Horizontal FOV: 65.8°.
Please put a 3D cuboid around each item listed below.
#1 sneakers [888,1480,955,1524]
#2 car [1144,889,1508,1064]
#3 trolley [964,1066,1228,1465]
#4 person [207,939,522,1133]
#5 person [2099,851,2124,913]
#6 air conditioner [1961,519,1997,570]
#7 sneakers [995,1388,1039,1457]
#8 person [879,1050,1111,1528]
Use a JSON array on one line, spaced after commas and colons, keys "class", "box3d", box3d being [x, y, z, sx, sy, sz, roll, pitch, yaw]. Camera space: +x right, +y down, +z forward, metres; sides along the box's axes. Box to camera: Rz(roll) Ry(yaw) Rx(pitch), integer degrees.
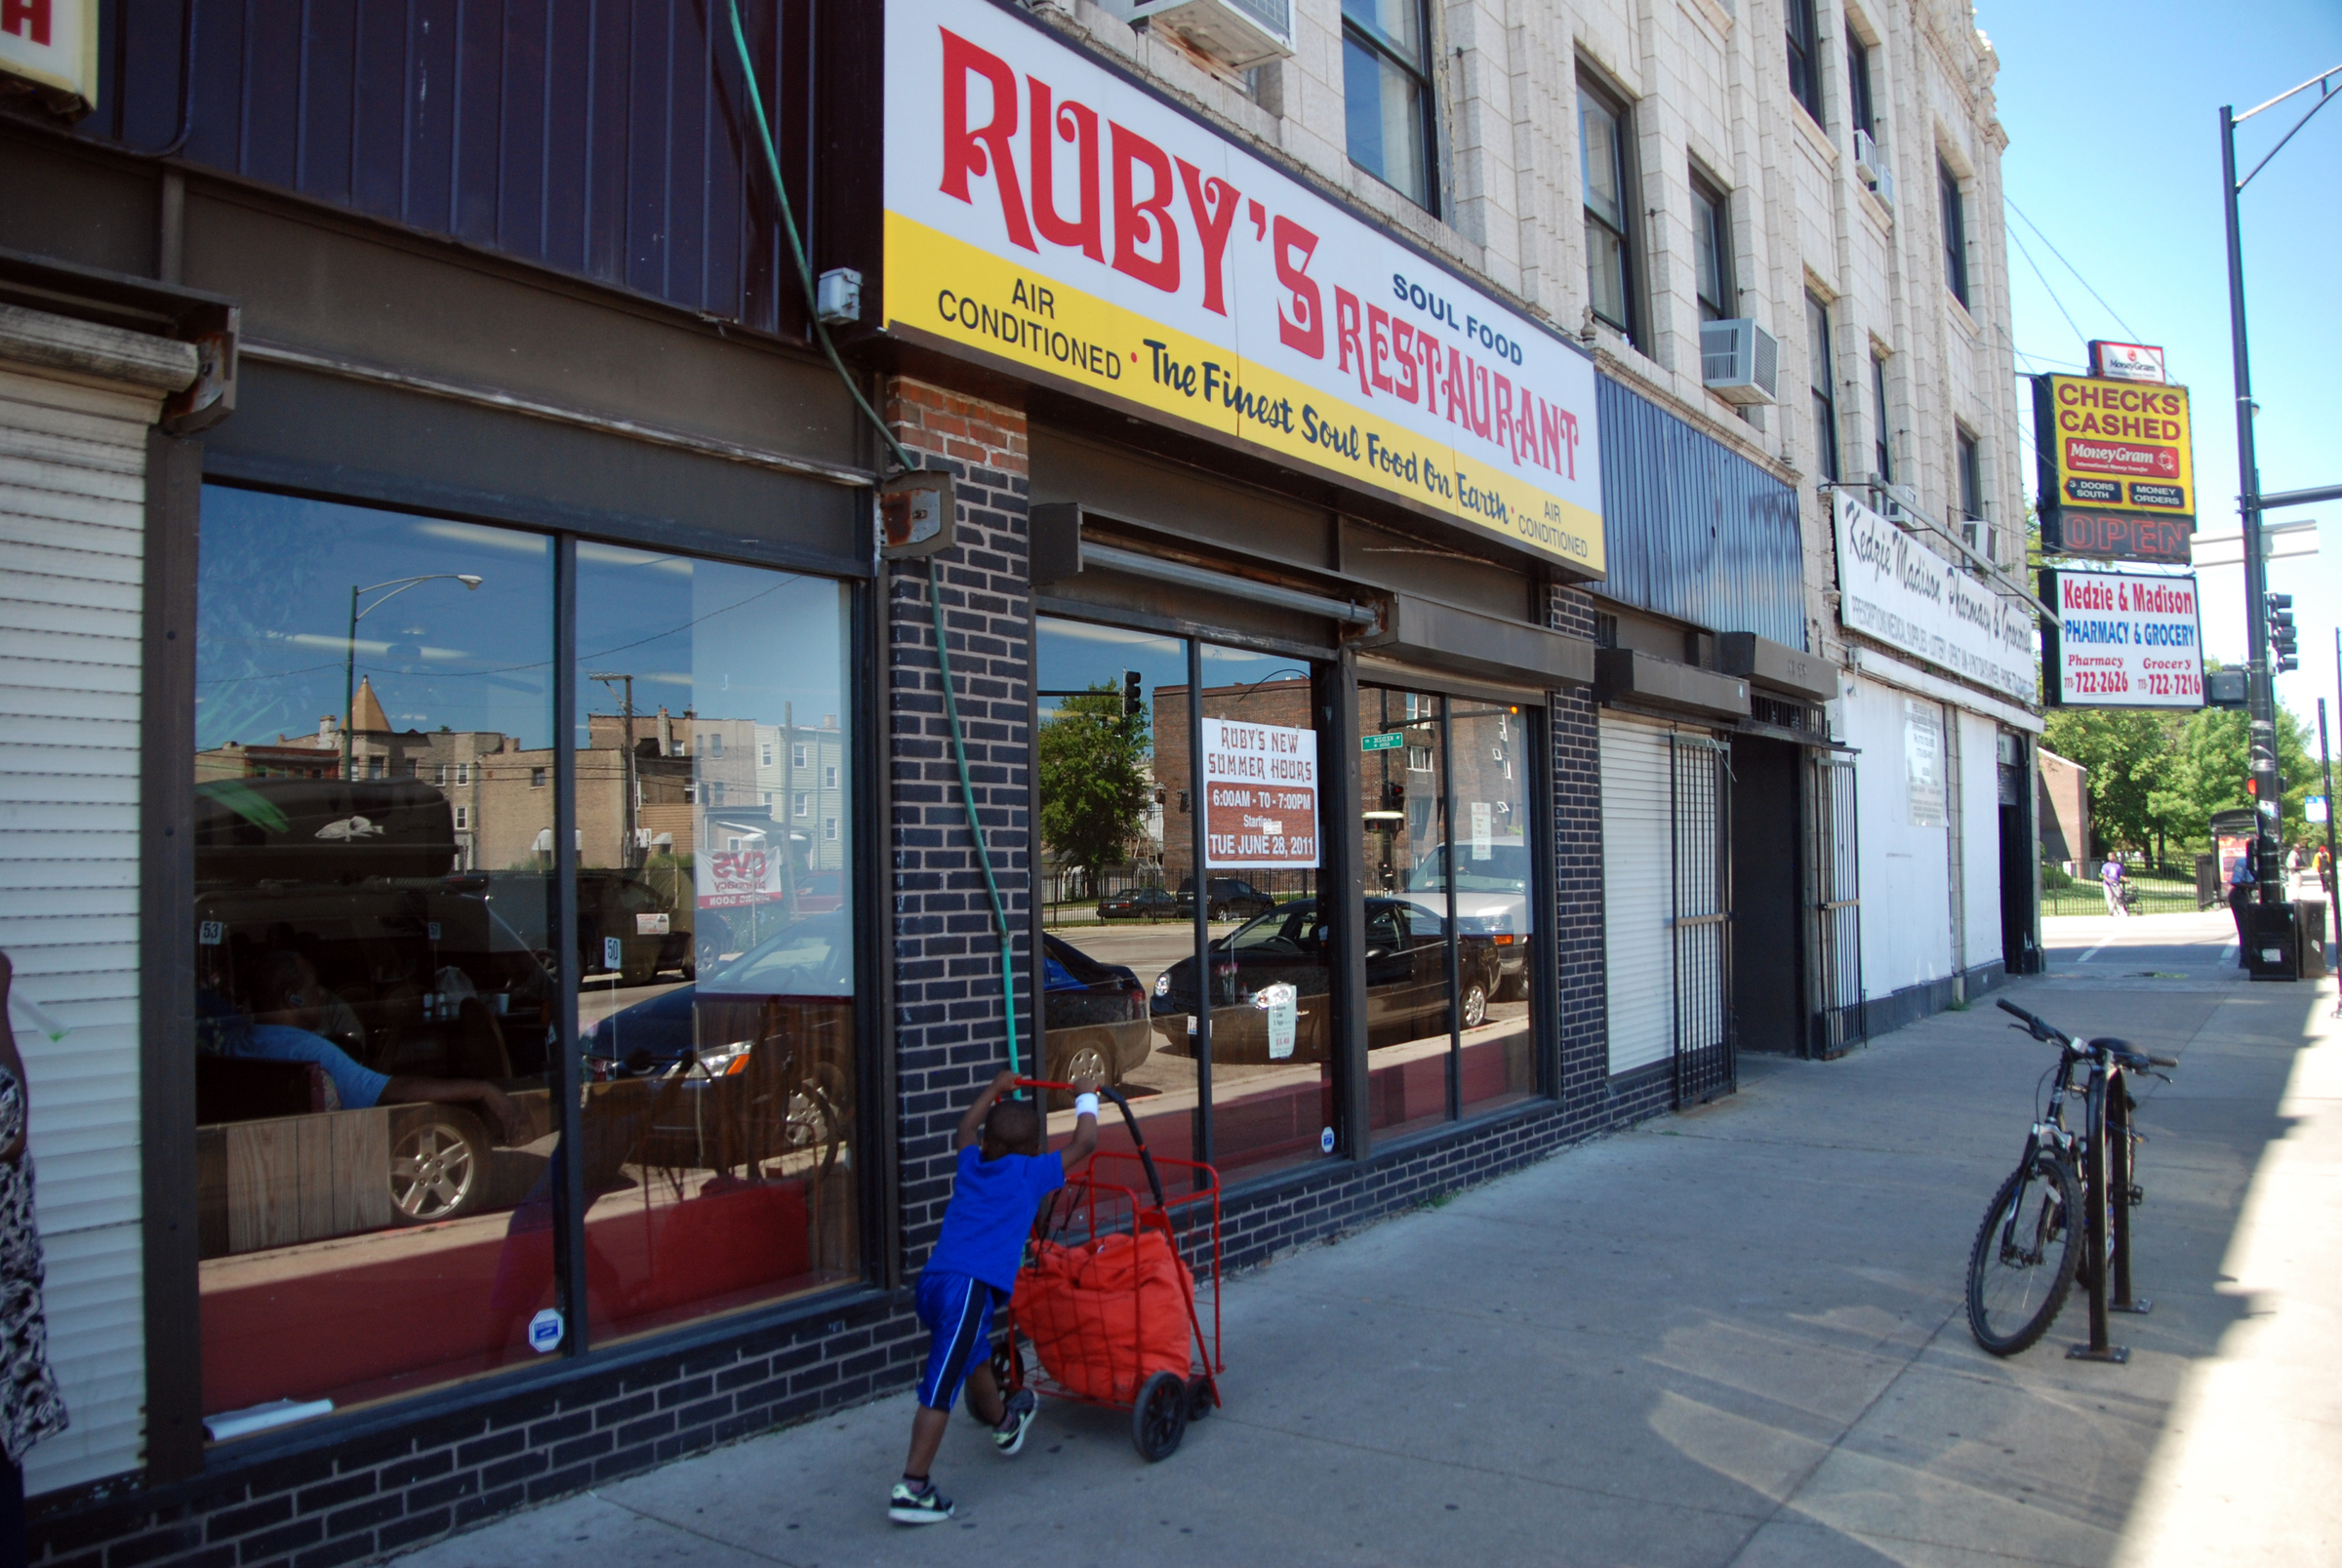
[{"class": "sneakers", "box3d": [-0.996, 2.872, 7.247, 0.306, 0.158, 0.119, 7, -5, -28]}, {"class": "car", "box3d": [0.957, 1.244, 11.501, 0.928, 0.723, 2.223, -9, -12, 42]}, {"class": "trolley", "box3d": [-0.305, 2.121, 8.103, 0.965, 1.614, 0.866, -5, -5, 36]}, {"class": "person", "box3d": [-3.195, 1.019, 7.304, 1.071, 0.689, 0.383, 4, -5, -15]}, {"class": "person", "box3d": [23.801, 2.596, 45.729, 0.414, 1.366, 1.916, 0, 2, 25]}, {"class": "air conditioner", "box3d": [10.983, -3.259, 24.691, 0.417, 0.836, 0.825, -1, -4, 40]}, {"class": "sneakers", "box3d": [-0.659, 2.756, 7.797, 0.097, 0.143, 0.306, -3, 15, 21]}, {"class": "person", "box3d": [-0.862, 2.107, 7.718, 1.019, 1.658, 0.848, -1, 2, -32]}]
